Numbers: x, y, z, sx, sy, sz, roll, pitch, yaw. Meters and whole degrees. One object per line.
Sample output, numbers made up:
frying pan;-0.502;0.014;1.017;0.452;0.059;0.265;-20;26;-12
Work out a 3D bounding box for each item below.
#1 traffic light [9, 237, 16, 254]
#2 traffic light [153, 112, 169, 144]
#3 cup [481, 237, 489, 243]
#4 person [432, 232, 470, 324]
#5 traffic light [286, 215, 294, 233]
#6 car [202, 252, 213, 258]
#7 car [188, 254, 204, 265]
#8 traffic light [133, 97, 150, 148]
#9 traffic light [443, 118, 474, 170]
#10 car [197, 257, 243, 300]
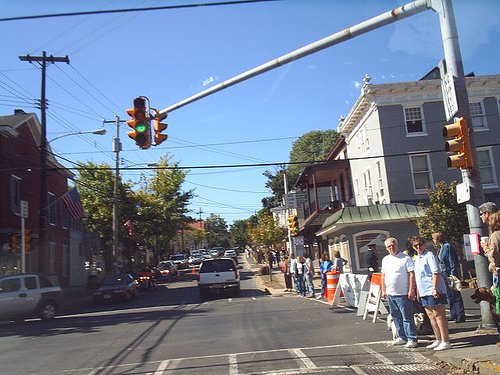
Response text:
traffic light;-10.839;2.557;24.350;0.281;0.766;0.727;2;-13;-24
traffic light;-2.323;-1.667;13.860;0.337;0.844;1.486;-2;-13;-9
cup;5.235;1.141;11.865;0.175;0.122;0.172;-2;-2;0
person;5.625;2.414;15.101;0.773;2.328;0.902;-6;-7;-9
traffic light;2.099;1.767;27.060;0.270;0.923;0.641;-4;-12;2
car;-5.276;8.186;65.851;1.466;0.679;2.426;2;-8;-13
car;-6.456;8.446;64.583;2.668;1.046;3.214;1;-2;-2
traffic light;-2.849;-1.727;14.007;0.398;1.283;0.590;-2;-12;-11
traffic light;5.120;-1.093;13.147;0.570;1.146;0.426;-8;-13;20
car;-1.632;4.686;28.497;2.307;1.862;4.357;-4;-6;-3
